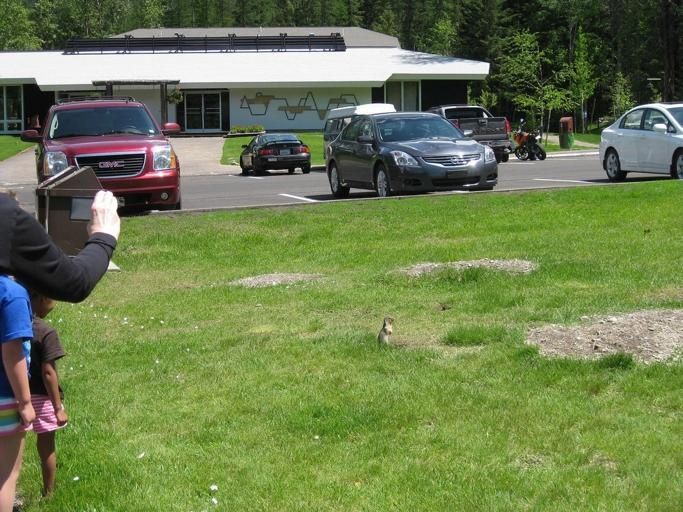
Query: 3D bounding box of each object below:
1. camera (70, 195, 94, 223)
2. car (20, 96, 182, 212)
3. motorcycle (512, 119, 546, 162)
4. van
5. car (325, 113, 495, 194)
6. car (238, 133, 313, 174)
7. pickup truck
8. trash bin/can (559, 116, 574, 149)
[{"bbox_3d":[-1.957,-0.359,7.268,0.250,0.309,0.064,0,0,31],"label":"camera"},{"bbox_3d":[-4.241,-1.882,17.540,2.001,2.076,3.575,-3,3,-15],"label":"car"},{"bbox_3d":[6.381,-3.759,32.377,0.536,1.059,1.840,-4,12,-13],"label":"motorcycle"},{"bbox_3d":[0.534,-3.644,29.874,1.307,1.881,2.665,1,6,-35],"label":"van"},{"bbox_3d":[1.078,-1.920,18.717,1.390,1.329,3.297,-3,4,-21],"label":"car"},{"bbox_3d":[-2.158,-3.147,30.086,2.590,1.268,1.527,10,17,43],"label":"car"},{"bbox_3d":[4.304,-4.165,30.744,1.405,1.546,3.499,-2,13,-13],"label":"pickup truck"},{"bbox_3d":[9.214,-5.033,38.999,0.479,1.300,1.687,0,12,12],"label":"trash bin/can"}]
